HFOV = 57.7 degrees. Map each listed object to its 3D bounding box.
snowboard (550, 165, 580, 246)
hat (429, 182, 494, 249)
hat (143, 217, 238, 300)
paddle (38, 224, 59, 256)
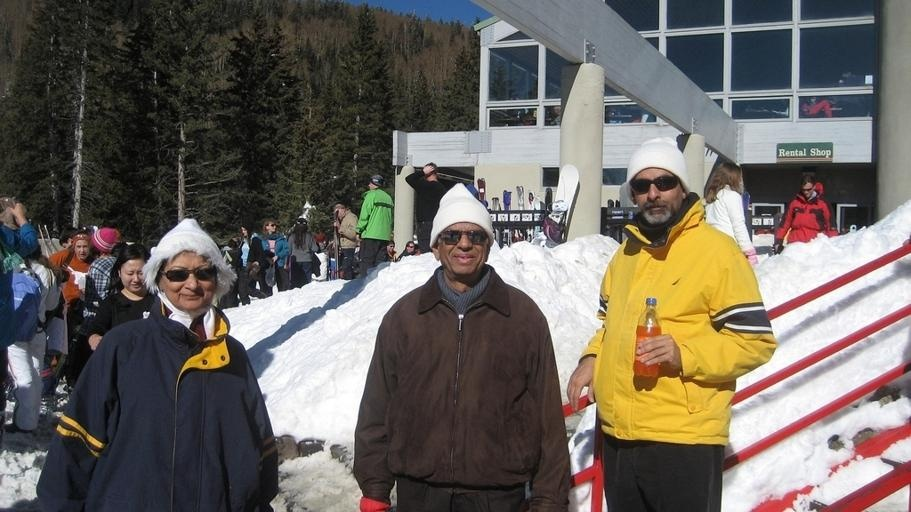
[{"bbox_3d":[2.251,-1.038,17.121,0.382,1.665,0.245,23,44,19],"label":"snowboard"},{"bbox_3d":[0.076,-0.499,9.608,0.566,0.572,0.778,1,-5,-3],"label":"hat"},{"bbox_3d":[-3.038,0.052,9.740,0.782,1.001,1.042,4,-6,-10],"label":"hat"},{"bbox_3d":[-17.988,-0.775,36.678,0.651,0.227,2.093,-12,33,-24],"label":"paddle"}]
